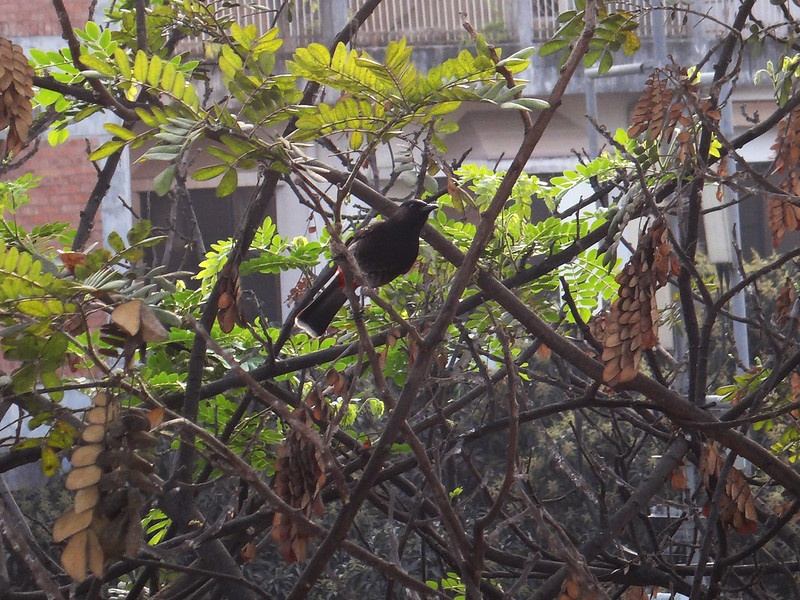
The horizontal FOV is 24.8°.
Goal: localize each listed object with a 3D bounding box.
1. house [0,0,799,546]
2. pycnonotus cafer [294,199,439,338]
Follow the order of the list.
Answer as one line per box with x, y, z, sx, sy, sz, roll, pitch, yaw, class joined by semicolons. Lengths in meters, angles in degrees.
-0.146;-0.261;9.784;4.045;3.518;2.196;-1;-21;5;house
-0.194;-0.224;10.662;0.894;0.556;0.332;-24;-45;35;pycnonotus cafer
